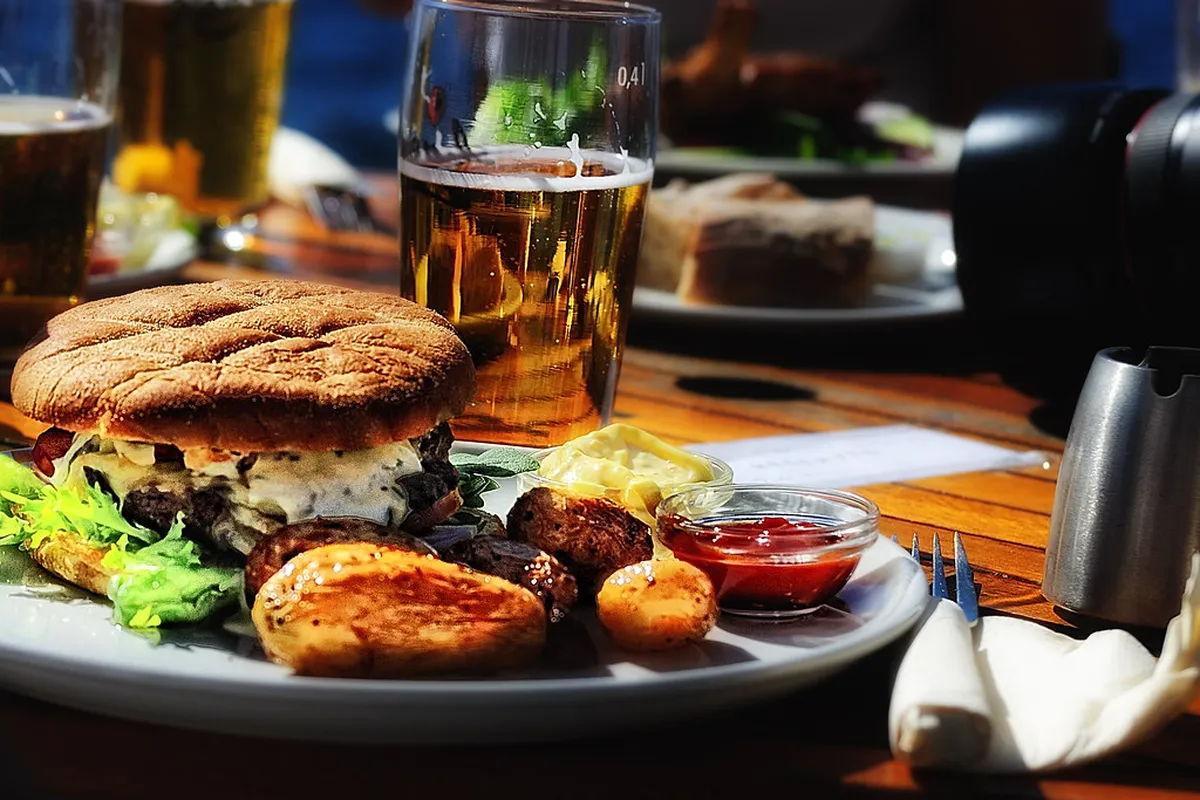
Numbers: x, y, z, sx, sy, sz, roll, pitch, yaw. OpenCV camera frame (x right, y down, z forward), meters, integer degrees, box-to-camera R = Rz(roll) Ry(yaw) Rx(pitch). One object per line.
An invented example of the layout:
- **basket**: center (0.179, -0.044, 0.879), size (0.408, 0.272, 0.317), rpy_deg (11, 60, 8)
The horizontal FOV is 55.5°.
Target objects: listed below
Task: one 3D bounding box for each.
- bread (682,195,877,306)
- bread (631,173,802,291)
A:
- **bread**: center (0.334, -0.268, 2.062), size (0.349, 0.153, 0.221), rpy_deg (1, 4, 3)
- **bread**: center (0.226, -0.351, 2.269), size (0.321, 0.154, 0.270), rpy_deg (7, 4, 24)
